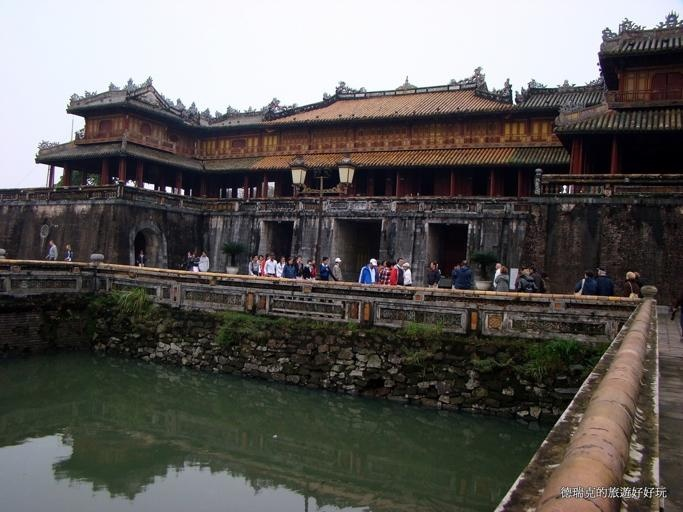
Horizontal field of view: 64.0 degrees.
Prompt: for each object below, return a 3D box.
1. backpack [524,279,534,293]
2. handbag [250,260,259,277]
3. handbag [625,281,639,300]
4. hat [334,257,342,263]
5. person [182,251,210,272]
[{"bbox_3d":[4.567,0.719,13.294,0.200,0.377,0.428,3,14,29],"label":"backpack"},{"bbox_3d":[-3.031,0.435,19.016,0.406,0.659,0.340,0,-7,-5],"label":"handbag"},{"bbox_3d":[6.380,0.763,12.042,0.204,0.444,0.292,-6,-4,21],"label":"handbag"},{"bbox_3d":[-0.102,0.095,17.370,0.178,0.137,0.259,-1,-7,-2],"label":"hat"},{"bbox_3d":[-6.850,0.284,25.493,0.878,1.129,0.419,0,-3,11],"label":"person"}]
